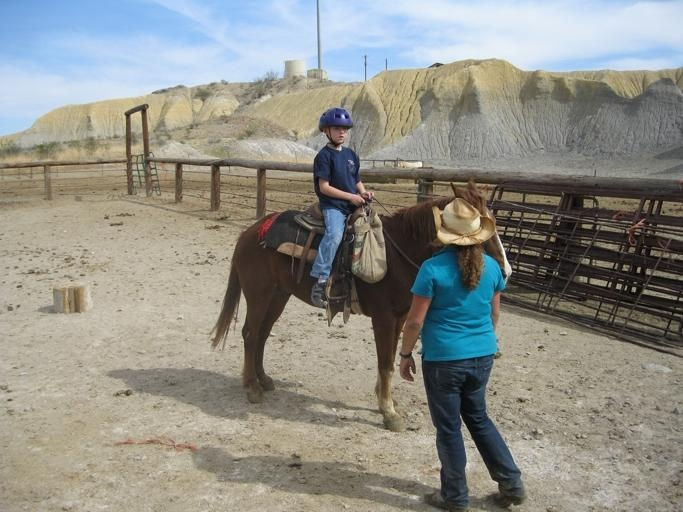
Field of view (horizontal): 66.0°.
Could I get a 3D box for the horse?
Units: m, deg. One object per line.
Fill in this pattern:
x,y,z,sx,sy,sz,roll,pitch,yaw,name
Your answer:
0.084,0.462,5.347,3.628,1.949,0.963,1,2,33,horse

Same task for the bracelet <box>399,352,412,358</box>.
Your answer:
0.506,0.758,4.058,0.072,0.018,0.064,0,0,30,bracelet

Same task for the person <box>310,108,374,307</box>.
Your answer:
-0.012,-0.403,5.250,0.582,2.048,0.857,3,18,-3,person

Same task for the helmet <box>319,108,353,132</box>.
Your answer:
-0.075,-1.322,5.149,0.259,0.120,0.302,1,-1,-12,helmet

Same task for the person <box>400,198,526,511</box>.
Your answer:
0.892,0.759,3.942,0.673,2.335,0.983,-10,22,-35,person
